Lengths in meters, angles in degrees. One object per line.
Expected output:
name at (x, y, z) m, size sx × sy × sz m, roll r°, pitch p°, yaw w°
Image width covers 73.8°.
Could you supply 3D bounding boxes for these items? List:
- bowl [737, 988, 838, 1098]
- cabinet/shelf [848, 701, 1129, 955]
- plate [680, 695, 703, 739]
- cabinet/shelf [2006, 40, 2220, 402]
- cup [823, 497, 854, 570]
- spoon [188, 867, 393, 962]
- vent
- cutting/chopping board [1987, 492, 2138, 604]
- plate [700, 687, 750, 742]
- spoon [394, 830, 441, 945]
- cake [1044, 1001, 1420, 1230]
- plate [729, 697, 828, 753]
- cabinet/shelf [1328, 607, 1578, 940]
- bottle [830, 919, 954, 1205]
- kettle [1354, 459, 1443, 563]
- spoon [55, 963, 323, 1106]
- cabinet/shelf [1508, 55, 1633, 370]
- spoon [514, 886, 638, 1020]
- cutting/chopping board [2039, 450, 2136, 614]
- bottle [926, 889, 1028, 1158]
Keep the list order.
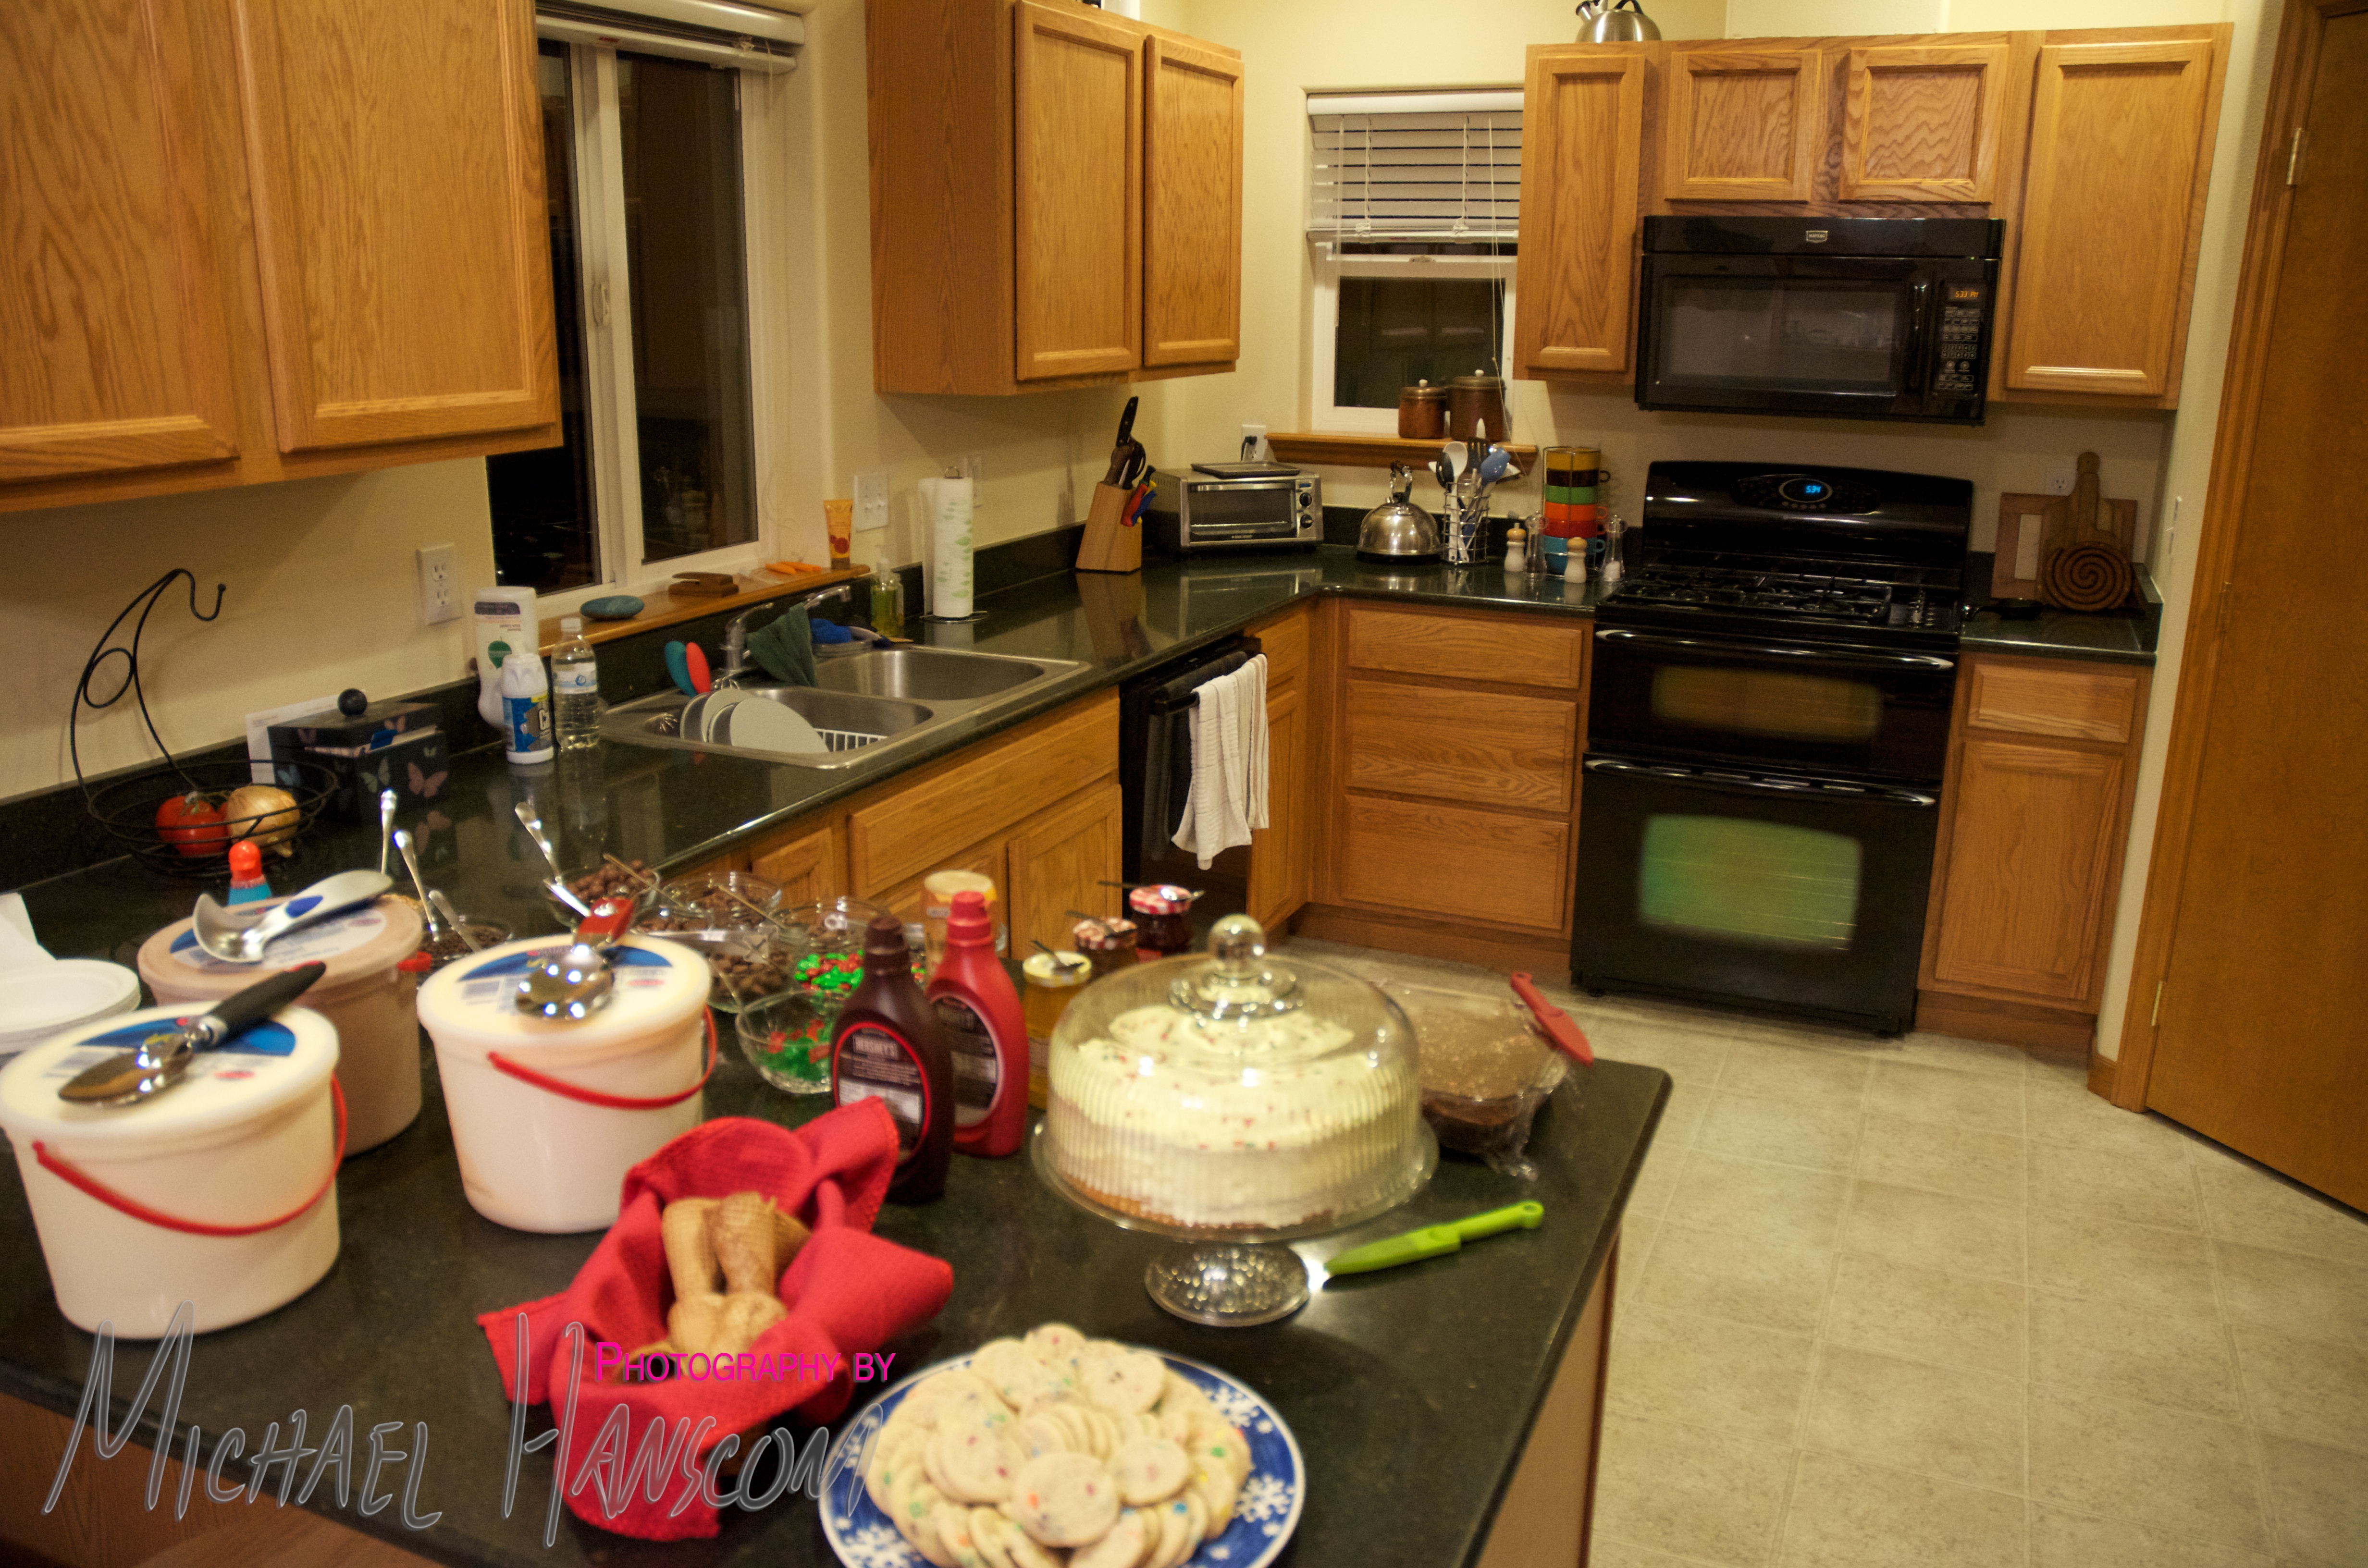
bowl at (-0.505, 0.305, 1.995) m, size 0.134 × 0.078 × 0.134 m, roll -2°, pitch 15°, yaw 0°
cabinet/shelf at (-0.417, 0.071, 3.190) m, size 0.719 × 0.349 × 0.653 m, roll 8°, pitch 18°, yaw 23°
plate at (-1.054, -0.135, 3.366) m, size 0.018 × 0.079 × 0.078 m, roll 8°, pitch 0°, yaw -13°
cabinet/shelf at (2.465, -1.470, 4.299) m, size 0.478 × 0.971 × 0.379 m, roll 7°, pitch 18°, yaw 19°
cup at (-0.885, -0.640, 4.039) m, size 0.071 × 0.169 × 0.120 m, roll -3°, pitch 21°, yaw -7°
spoon at (-1.089, 0.141, 1.901) m, size 0.146 × 0.063 × 0.198 m, roll 15°, pitch 26°, yaw 35°
vent at (1.884, -1.405, 4.590) m, size 0.998 × 0.604 × 0.588 m, roll 13°, pitch 37°, yaw 33°
cutting/chopping board at (2.533, -0.676, 4.517) m, size 0.323 × 0.325 × 0.033 m, roll 5°, pitch 0°, yaw 35°
plate at (-0.986, -0.139, 3.358) m, size 0.106 × 0.036 × 0.107 m, roll 19°, pitch 38°, yaw 23°
spoon at (-1.087, 0.150, 2.226) m, size 0.026 × 0.136 × 0.027 m, roll -18°, pitch -2°, yaw 0°
cake at (0.064, 0.317, 1.604) m, size 0.341 × 0.198 × 0.319 m, roll 5°, pitch 16°, yaw 13°
plate at (-0.857, -0.118, 3.274) m, size 0.228 × 0.097 × 0.102 m, roll 7°, pitch 22°, yaw 19°
cabinet/shelf at (0.794, -0.039, 4.774) m, size 0.770 × 0.978 × 0.276 m, roll 3°, pitch 21°, yaw 9°
bottle at (-0.327, 0.312, 1.828) m, size 0.120 × 0.315 × 0.114 m, roll 5°, pitch 18°, yaw -1°
kettle at (0.678, -0.887, 5.106) m, size 0.294 × 0.297 × 0.295 m, roll -1°, pitch 8°, yaw -3°
spoon at (-1.012, 0.257, 1.639) m, size 0.078 × 0.055 × 0.269 m, roll 13°, pitch 25°, yaw 32°
cabinet/shelf at (1.152, -1.655, 4.650) m, size 0.368 × 0.872 × 0.330 m, roll 7°, pitch 18°, yaw 21°
spoon at (-0.654, 0.191, 1.723) m, size 0.092 × 0.080 × 0.147 m, roll 7°, pitch 22°, yaw 20°
cutting/chopping board at (2.593, -0.712, 4.479) m, size 0.247 × 0.418 × 0.236 m, roll 11°, pitch 24°, yaw 28°
bottle at (-0.237, 0.283, 1.839) m, size 0.088 × 0.283 × 0.121 m, roll 8°, pitch 19°, yaw -2°
